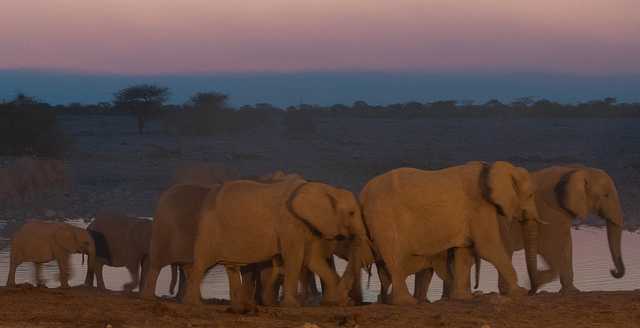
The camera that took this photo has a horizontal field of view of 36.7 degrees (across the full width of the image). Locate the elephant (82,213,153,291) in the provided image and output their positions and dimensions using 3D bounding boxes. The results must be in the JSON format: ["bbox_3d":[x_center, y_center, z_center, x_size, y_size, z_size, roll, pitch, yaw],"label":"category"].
[{"bbox_3d":[-5.627,2.827,29.281,3.320,1.789,1.411,2,0,10],"label":"elephant"}]

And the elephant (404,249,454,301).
[{"bbox_3d":[3.067,3.234,27.904,0.850,1.320,2.587,5,-8,-21],"label":"elephant"}]
